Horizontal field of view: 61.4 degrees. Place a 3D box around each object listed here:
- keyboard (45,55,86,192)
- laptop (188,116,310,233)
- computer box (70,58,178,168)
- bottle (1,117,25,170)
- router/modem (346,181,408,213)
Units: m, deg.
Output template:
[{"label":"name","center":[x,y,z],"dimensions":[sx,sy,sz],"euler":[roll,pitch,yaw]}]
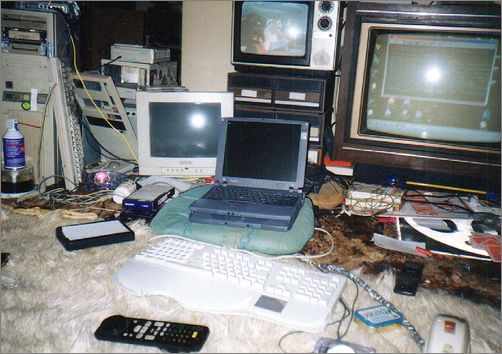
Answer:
[{"label":"keyboard","center":[-0.793,-0.236,1.823],"dimensions":[0.098,0.525,0.224],"euler":[-7,21,-24]},{"label":"laptop","center":[0.001,-0.028,1.604],"dimensions":[0.406,0.332,0.336],"euler":[6,19,10]},{"label":"computer box","center":[-0.629,-0.337,2.114],"dimensions":[0.280,0.465,0.392],"euler":[22,35,32]},{"label":"bottle","center":[-0.974,-0.134,1.721],"dimensions":[0.081,0.194,0.067],"euler":[-8,21,-28]},{"label":"router/modem","center":[0.510,0.090,1.761],"dimensions":[0.238,0.078,0.202],"euler":[6,20,12]}]
